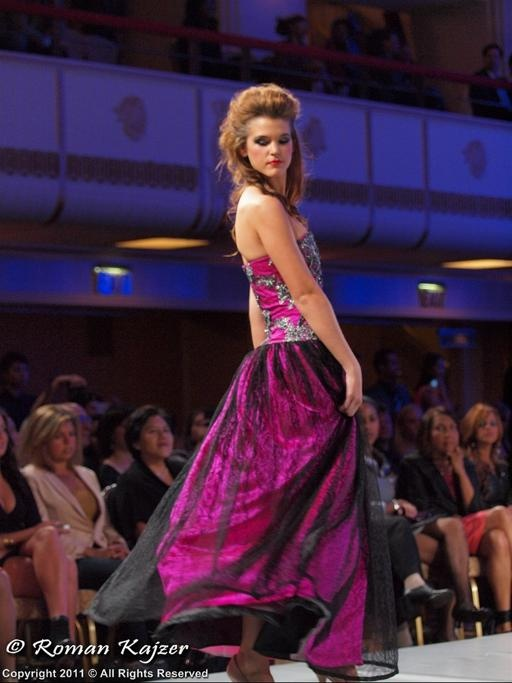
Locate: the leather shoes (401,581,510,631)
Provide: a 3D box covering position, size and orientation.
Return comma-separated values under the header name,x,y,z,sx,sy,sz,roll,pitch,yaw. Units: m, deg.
name,x,y,z,sx,sy,sz,roll,pitch,yaw
leather shoes,0.764,1.020,3.137,0.602,0.189,0.158,1,-2,-7
